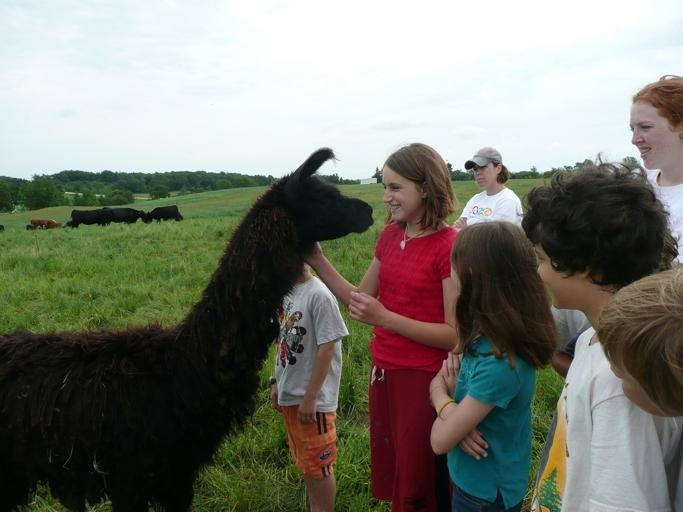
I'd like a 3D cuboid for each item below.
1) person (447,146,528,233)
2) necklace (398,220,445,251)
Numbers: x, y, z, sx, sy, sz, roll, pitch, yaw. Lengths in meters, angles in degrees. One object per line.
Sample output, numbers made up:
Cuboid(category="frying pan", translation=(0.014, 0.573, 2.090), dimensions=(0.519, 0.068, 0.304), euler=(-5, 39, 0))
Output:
Cuboid(category="person", translation=(2.053, -0.817, 7.172), dimensions=(0.718, 1.486, 0.967), euler=(0, 5, -22))
Cuboid(category="necklace", translation=(0.544, -0.143, 3.387), dimensions=(0.211, 0.106, 0.167), euler=(-4, 2, 30))
